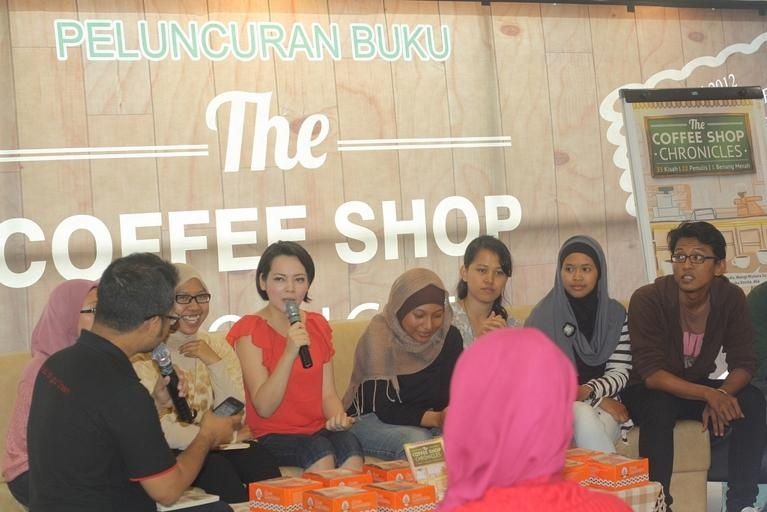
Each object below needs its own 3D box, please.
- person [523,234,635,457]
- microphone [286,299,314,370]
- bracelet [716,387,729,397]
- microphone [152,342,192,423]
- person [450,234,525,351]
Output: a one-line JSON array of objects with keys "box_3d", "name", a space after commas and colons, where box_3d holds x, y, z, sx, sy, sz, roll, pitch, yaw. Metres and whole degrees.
[{"box_3d": [1.342, 0.890, 5.068, 0.706, 1.991, 0.911, -1, -2, 13], "name": "person"}, {"box_3d": [-0.534, 0.432, 4.558, 0.112, 0.514, 0.130, -14, -33, -10], "name": "microphone"}, {"box_3d": [2.238, 0.901, 4.882, 0.066, 0.049, 0.136, -3, -1, 25], "name": "bracelet"}, {"box_3d": [-1.184, 0.727, 4.140, 0.109, 0.580, 0.152, -8, 36, 13], "name": "microphone"}, {"box_3d": [0.674, 0.247, 5.024, 0.548, 0.852, 0.408, 4, -18, -6], "name": "person"}]
